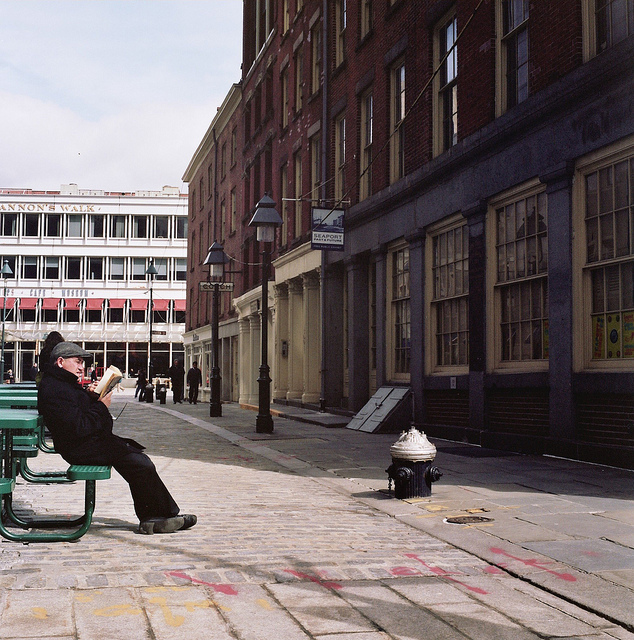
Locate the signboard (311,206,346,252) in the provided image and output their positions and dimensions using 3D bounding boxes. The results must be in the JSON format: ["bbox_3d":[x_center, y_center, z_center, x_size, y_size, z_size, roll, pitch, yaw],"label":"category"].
[{"bbox_3d":[0.234,-1.859,19.536,0.698,0.925,0.031,2,-4,-2],"label":"signboard"}]

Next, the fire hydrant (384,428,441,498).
[{"bbox_3d":[0.955,1.436,9.607,0.515,0.740,0.477,0,7,28],"label":"fire hydrant"}]

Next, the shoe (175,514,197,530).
[{"bbox_3d":[-1.046,1.659,7.881,0.114,0.083,0.128,1,1,4],"label":"shoe"}]

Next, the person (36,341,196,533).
[{"bbox_3d":[-1.650,0.958,7.697,1.086,1.546,0.544,0,-1,-18],"label":"person"}]

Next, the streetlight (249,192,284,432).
[{"bbox_3d":[-0.828,-0.325,17.860,0.564,5.157,0.678,0,1,-22],"label":"streetlight"}]

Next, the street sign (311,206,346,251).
[{"bbox_3d":[0.216,-1.817,19.542,0.712,0.910,0.031,6,26,12],"label":"street sign"}]

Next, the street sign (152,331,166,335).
[{"bbox_3d":[-11.246,0.993,69.047,1.205,0.309,0.170,0,-8,18],"label":"street sign"}]

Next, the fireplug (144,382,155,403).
[{"bbox_3d":[-6.221,2.820,36.058,0.271,0.651,1.341,0,-1,-12],"label":"fireplug"}]

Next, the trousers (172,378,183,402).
[{"bbox_3d":[-4.960,2.566,34.597,0.356,0.892,0.617,0,-1,-9],"label":"trousers"}]

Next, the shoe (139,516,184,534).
[{"bbox_3d":[-1.239,1.643,7.715,0.238,0.103,0.144,0,-7,-18],"label":"shoe"}]

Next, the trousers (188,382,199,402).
[{"bbox_3d":[-4.475,2.676,35.230,0.295,0.723,1.000,0,-1,-8],"label":"trousers"}]
